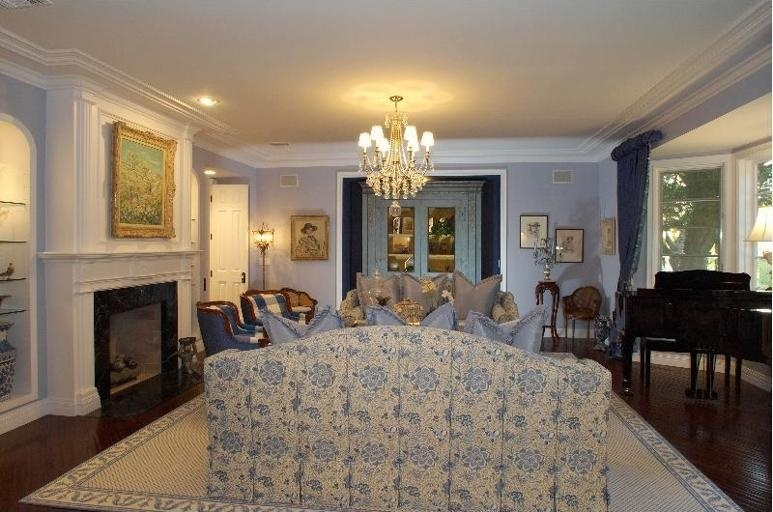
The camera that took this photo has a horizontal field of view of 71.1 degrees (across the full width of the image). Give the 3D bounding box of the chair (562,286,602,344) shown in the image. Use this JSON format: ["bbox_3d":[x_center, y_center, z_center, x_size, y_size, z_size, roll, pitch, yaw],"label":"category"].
[{"bbox_3d":[3.233,0.976,8.983,0.853,0.865,0.877,1,4,28],"label":"chair"}]

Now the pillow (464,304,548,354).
[{"bbox_3d":[1.091,0.572,4.839,0.478,0.311,0.493,1,0,25],"label":"pillow"}]

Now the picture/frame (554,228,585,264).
[{"bbox_3d":[3.135,-0.163,9.333,0.585,0.810,0.030,0,-1,0],"label":"picture/frame"}]

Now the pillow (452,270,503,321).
[{"bbox_3d":[1.207,0.551,7.335,0.557,0.581,0.211,9,-21,35],"label":"pillow"}]

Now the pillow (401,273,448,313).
[{"bbox_3d":[0.498,0.519,7.337,0.492,0.528,0.196,0,-7,2],"label":"pillow"}]

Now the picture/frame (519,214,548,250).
[{"bbox_3d":[2.542,-0.418,9.382,0.590,0.784,0.032,0,-2,1],"label":"picture/frame"}]

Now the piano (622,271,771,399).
[{"bbox_3d":[3.586,0.733,6.810,1.929,1.871,1.437,-1,-5,25],"label":"piano"}]

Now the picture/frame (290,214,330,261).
[{"bbox_3d":[-1.373,-0.324,9.798,0.804,0.984,0.070,0,-1,0],"label":"picture/frame"}]

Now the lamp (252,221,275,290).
[{"bbox_3d":[-2.241,0.004,9.855,0.403,1.189,0.268,0,1,-5],"label":"lamp"}]

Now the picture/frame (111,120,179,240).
[{"bbox_3d":[-3.052,-0.923,6.873,0.133,1.373,0.957,0,1,21],"label":"picture/frame"}]

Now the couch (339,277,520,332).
[{"bbox_3d":[0.499,0.818,7.604,2.453,1.110,1.029,-1,2,13],"label":"couch"}]

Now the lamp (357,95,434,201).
[{"bbox_3d":[0.086,-1.387,7.255,0.972,1.607,1.015,0,3,34],"label":"lamp"}]

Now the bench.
[{"bbox_3d":[3.556,1.412,6.974,0.992,0.474,0.663,3,-10,4],"label":"bench"}]

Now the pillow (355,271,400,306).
[{"bbox_3d":[-0.124,0.530,8.065,0.621,0.700,0.246,-2,33,-4],"label":"pillow"}]
